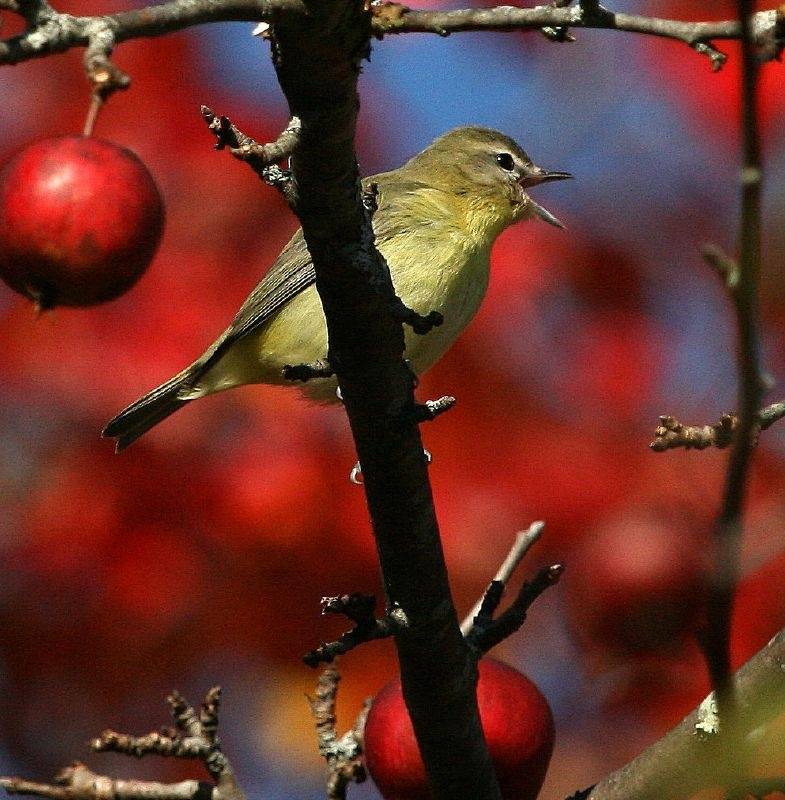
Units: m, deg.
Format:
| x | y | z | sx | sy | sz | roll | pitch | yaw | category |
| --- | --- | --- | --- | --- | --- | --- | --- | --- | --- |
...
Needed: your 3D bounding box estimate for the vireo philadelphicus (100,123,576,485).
| x | y | z | sx | sy | sz | roll | pitch | yaw | category |
| --- | --- | --- | --- | --- | --- | --- | --- | --- | --- |
| -0.158 | -0.253 | 2.984 | 1.114 | 0.517 | 0.334 | -8 | -6 | -6 | vireo philadelphicus |
